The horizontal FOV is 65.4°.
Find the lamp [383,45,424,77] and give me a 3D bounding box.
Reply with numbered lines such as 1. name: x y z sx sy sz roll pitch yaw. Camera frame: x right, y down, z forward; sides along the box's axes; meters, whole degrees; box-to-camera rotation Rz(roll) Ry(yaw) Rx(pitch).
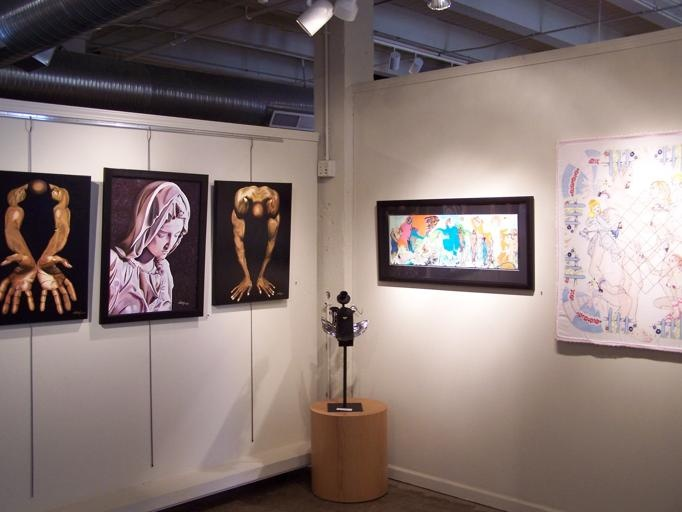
1. lamp: 1.005 -3.053 8.276 0.519 0.472 1.292 2 4 6
